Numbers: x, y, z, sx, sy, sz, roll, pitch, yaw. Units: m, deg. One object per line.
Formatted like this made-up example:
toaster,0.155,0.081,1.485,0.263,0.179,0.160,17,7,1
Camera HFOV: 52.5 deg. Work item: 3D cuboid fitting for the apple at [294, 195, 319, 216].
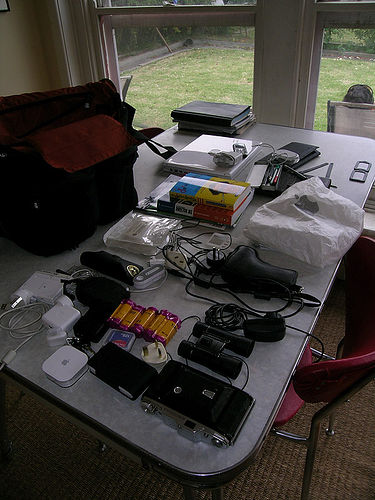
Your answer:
apple,0.311,-0.118,1.006,0.065,0.040,0.046,13,34,29

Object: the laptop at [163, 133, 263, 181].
laptop,0.072,-0.340,1.393,0.259,0.078,0.275,16,46,25

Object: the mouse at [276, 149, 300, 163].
mouse,0.356,-0.343,1.391,0.079,0.025,0.111,-20,33,-24

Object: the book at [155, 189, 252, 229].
book,0.020,-0.100,1.090,0.172,0.035,0.120,7,33,21

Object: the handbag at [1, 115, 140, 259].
handbag,-0.302,-0.150,0.980,0.184,0.218,0.333,28,50,10
